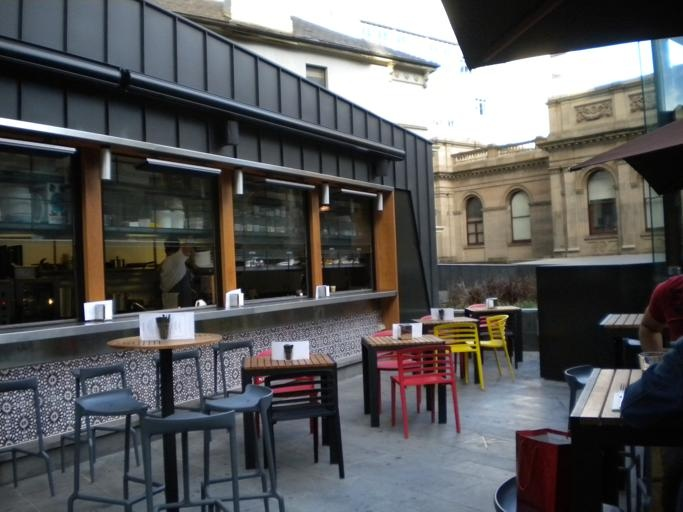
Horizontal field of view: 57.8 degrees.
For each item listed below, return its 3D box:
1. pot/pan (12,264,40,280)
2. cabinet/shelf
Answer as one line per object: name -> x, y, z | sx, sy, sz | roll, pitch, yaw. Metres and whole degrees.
pot/pan -> -3.972, 0.199, 7.803 | 0.068, 0.193, 0.270 | -6, -3, 38
cabinet/shelf -> -2.861, -0.795, 9.042 | 0.379, 1.085, 3.917 | -6, -3, 40
